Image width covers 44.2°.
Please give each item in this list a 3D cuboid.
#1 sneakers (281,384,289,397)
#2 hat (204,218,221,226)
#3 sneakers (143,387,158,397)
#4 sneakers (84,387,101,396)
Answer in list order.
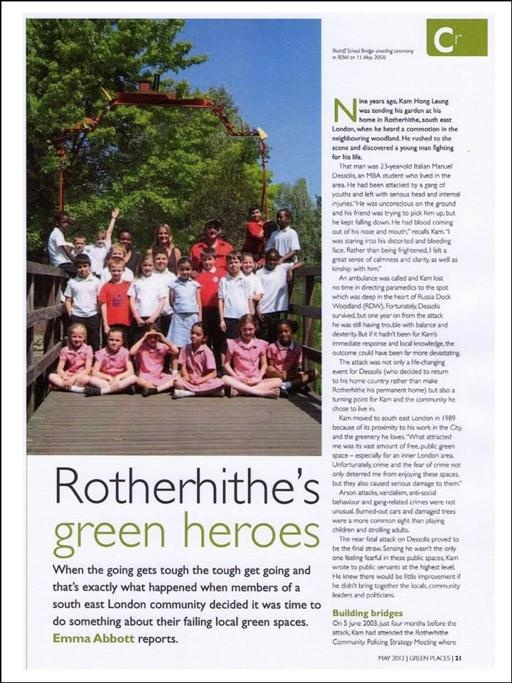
[{"bbox_3d":[0.192,0.333,4.402,0.047,0.082,0.161,2,6,6],"label":"sneakers"},{"bbox_3d":[-0.349,-0.978,5.226,0.099,0.071,0.210,4,7,28],"label":"hat"},{"bbox_3d":[-0.724,0.339,4.313,0.049,0.035,0.115,-22,27,41],"label":"sneakers"},{"bbox_3d":[-1.127,0.327,4.319,0.105,0.061,0.250,-1,6,-16],"label":"sneakers"}]
